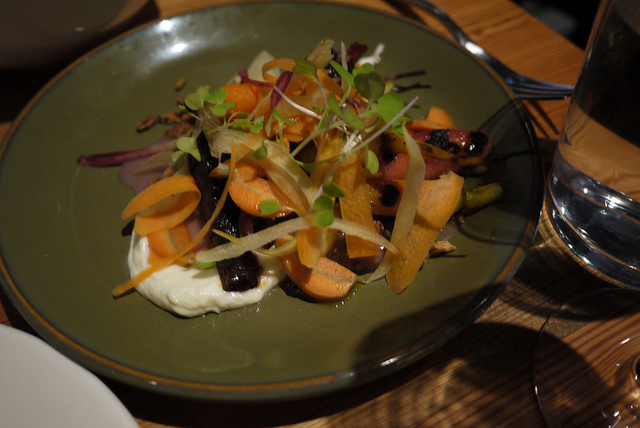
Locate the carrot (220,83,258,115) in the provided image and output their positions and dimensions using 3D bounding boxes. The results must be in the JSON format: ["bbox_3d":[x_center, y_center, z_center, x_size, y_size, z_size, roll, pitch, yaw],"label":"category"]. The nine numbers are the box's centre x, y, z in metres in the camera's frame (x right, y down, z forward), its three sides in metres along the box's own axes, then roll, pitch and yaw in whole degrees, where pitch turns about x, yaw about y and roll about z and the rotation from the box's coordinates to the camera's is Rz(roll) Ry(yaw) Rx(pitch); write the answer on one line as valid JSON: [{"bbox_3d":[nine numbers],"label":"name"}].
[{"bbox_3d":[-0.306,-0.438,2.406,0.134,0.102,0.113,-5,89,-5],"label":"carrot"}]

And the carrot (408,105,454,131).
[{"bbox_3d":[0.447,-0.359,2.426,0.101,0.050,0.145,22,46,19],"label":"carrot"}]

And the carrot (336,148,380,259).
[{"bbox_3d":[0.154,-0.067,2.226,0.032,0.142,0.466,30,51,-31],"label":"carrot"}]

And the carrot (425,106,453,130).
[{"bbox_3d":[0.463,-0.381,2.458,0.085,0.023,0.088,30,46,9],"label":"carrot"}]

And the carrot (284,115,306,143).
[{"bbox_3d":[-0.082,-0.304,2.348,0.038,0.068,0.095,27,92,-37],"label":"carrot"}]

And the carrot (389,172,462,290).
[{"bbox_3d":[0.359,0.052,2.192,0.091,0.085,0.439,28,73,9],"label":"carrot"}]

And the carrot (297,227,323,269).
[{"bbox_3d":[-0.034,0.110,2.125,0.069,0.033,0.150,5,85,-17],"label":"carrot"}]

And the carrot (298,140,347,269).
[{"bbox_3d":[-0.020,-0.004,2.147,0.084,0.074,0.354,-23,103,-4],"label":"carrot"}]

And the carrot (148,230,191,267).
[{"bbox_3d":[-0.546,0.130,2.263,0.123,0.035,0.136,27,40,-30],"label":"carrot"}]

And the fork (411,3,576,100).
[{"bbox_3d":[0.701,-0.665,2.622,0.077,0.080,0.684,-34,71,-24],"label":"fork"}]

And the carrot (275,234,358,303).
[{"bbox_3d":[-0.040,0.207,2.264,0.189,0.098,0.370,-27,39,-29],"label":"carrot"}]

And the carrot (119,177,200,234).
[{"bbox_3d":[-0.558,-0.028,2.266,0.260,0.086,0.180,-28,65,-14],"label":"carrot"}]
